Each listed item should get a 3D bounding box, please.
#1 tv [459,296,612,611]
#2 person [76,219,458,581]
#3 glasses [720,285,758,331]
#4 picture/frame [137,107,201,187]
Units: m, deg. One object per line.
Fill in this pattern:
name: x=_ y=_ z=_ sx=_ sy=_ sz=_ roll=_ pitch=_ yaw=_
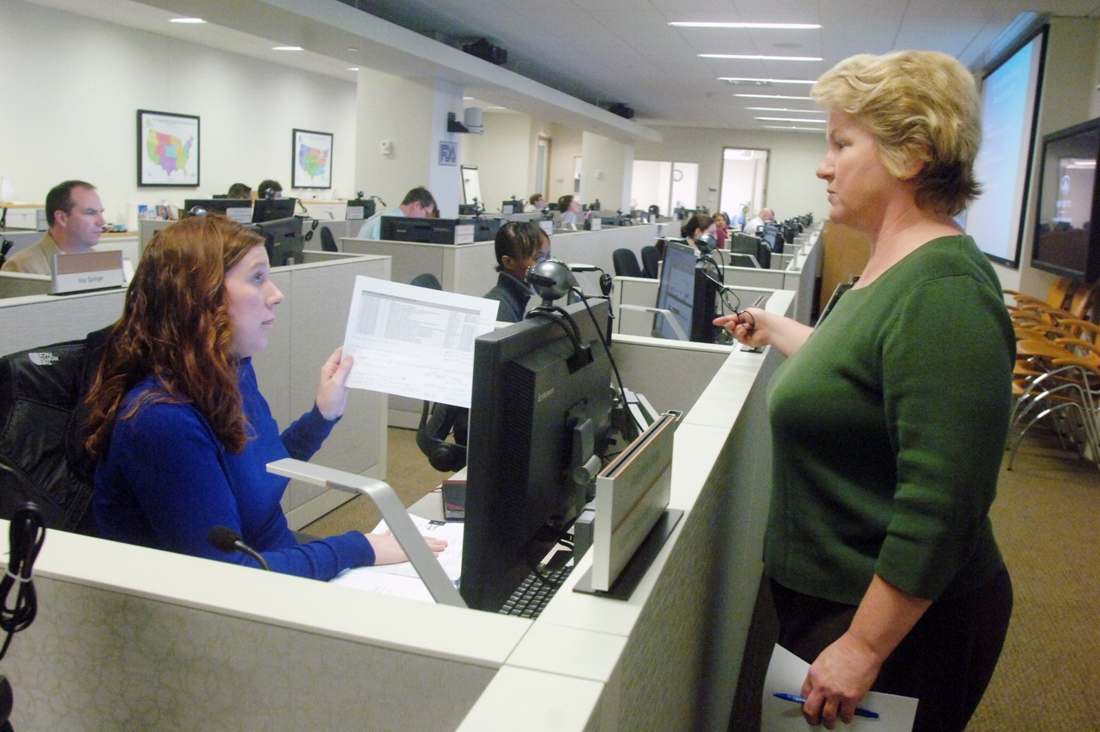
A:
tv: x=-0.032 y=0.165 z=1.410 sx=0.170 sy=0.424 sz=0.482 roll=10 pitch=17 yaw=20
person: x=-0.498 y=-0.085 z=2.039 sx=0.882 sy=1.180 sz=0.601 roll=-3 pitch=20 yaw=-10
glasses: x=0.683 y=-0.218 z=2.909 sx=0.077 sy=0.238 sz=0.230 roll=-14 pitch=-12 yaw=16
picture/frame: x=-4.891 y=-2.776 z=10.193 sx=1.203 sy=0.920 sz=0.043 roll=10 pitch=12 yaw=27
